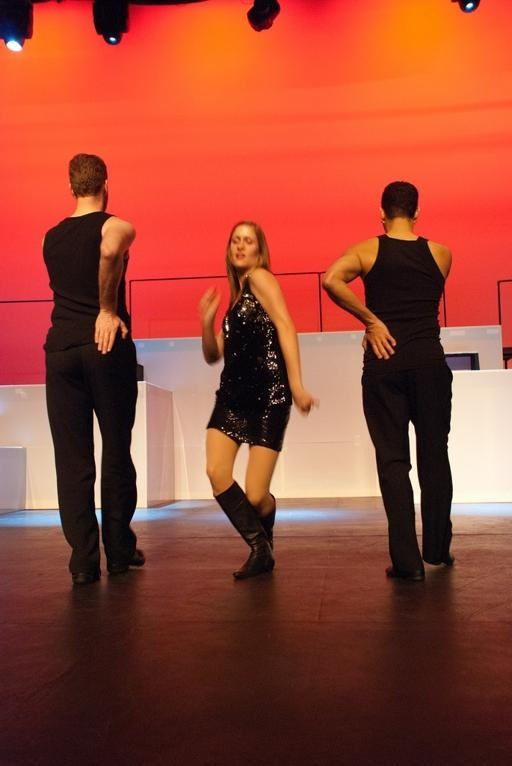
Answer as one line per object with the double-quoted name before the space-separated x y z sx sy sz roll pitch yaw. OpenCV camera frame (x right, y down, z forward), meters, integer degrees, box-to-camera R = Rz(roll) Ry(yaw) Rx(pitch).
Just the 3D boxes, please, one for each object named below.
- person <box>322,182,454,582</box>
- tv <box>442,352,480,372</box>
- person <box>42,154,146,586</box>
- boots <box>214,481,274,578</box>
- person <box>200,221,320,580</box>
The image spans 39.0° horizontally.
"person" 0.429 0.054 2.227 0.420 1.042 0.262 -1 -6 -4
"tv" 1.668 -0.173 5.860 0.325 0.170 0.157 0 2 17
"person" -0.515 -0.082 2.283 0.308 1.363 0.367 -1 -6 -9
"boots" -0.017 0.444 2.222 0.170 0.276 0.128 2 -7 -31
"person" -0.003 0.019 2.353 0.336 1.147 0.428 -1 -6 -5
